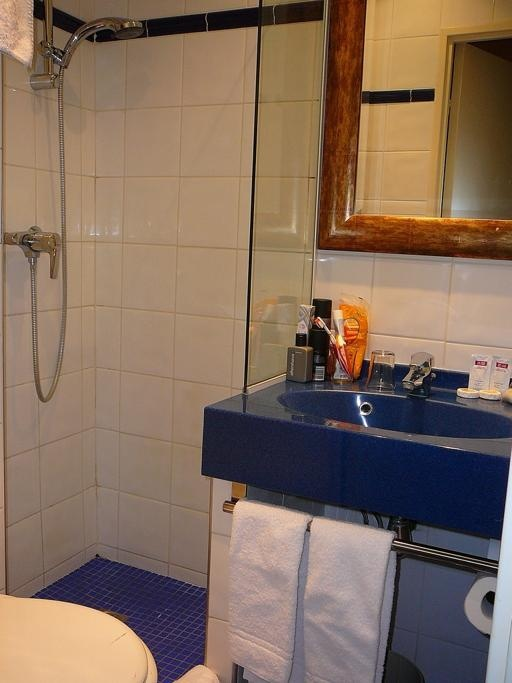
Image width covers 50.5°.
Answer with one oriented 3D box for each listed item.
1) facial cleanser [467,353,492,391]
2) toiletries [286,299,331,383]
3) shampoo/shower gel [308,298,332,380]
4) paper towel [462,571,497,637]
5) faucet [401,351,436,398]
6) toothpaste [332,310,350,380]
[{"bbox_3d":[0.547,0.075,1.324,0.056,0.129,0.030,7,8,20],"label":"facial cleanser"},{"bbox_3d":[0.140,0.000,1.413,0.084,0.261,0.072,11,16,33],"label":"toiletries"},{"bbox_3d":[0.165,-0.006,1.411,0.037,0.197,0.115,6,7,35],"label":"shampoo/shower gel"},{"bbox_3d":[0.379,0.440,0.908,0.051,0.114,0.030,2,9,-6],"label":"paper towel"},{"bbox_3d":[0.393,0.086,1.302,0.069,0.133,0.098,1,0,34],"label":"faucet"},{"bbox_3d":[0.219,0.005,1.419,0.041,0.183,0.038,5,13,45],"label":"toothpaste"}]
